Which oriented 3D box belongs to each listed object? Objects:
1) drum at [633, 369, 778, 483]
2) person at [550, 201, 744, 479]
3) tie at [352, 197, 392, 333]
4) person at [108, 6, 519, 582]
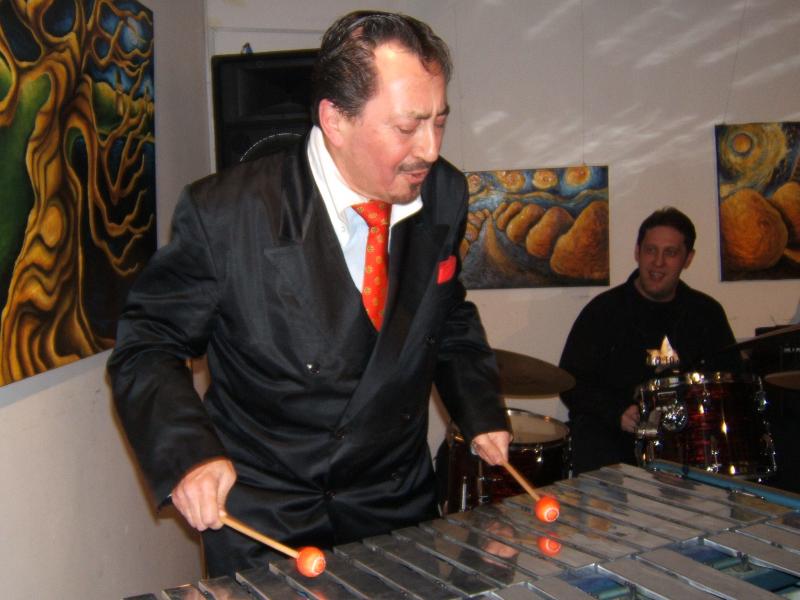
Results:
[{"bbox_3d":[1.573,0.715,3.816,0.681,0.564,0.718,-2,-18,-1],"label":"drum"},{"bbox_3d":[1.642,0.700,4.805,1.100,2.453,1.024,4,-3,-8],"label":"person"},{"bbox_3d":[-0.074,-0.121,2.316,0.094,0.438,0.067,-1,-4,-14],"label":"tie"},{"bbox_3d":[-0.291,-0.049,2.310,1.166,1.683,0.528,-9,15,-35],"label":"person"}]
